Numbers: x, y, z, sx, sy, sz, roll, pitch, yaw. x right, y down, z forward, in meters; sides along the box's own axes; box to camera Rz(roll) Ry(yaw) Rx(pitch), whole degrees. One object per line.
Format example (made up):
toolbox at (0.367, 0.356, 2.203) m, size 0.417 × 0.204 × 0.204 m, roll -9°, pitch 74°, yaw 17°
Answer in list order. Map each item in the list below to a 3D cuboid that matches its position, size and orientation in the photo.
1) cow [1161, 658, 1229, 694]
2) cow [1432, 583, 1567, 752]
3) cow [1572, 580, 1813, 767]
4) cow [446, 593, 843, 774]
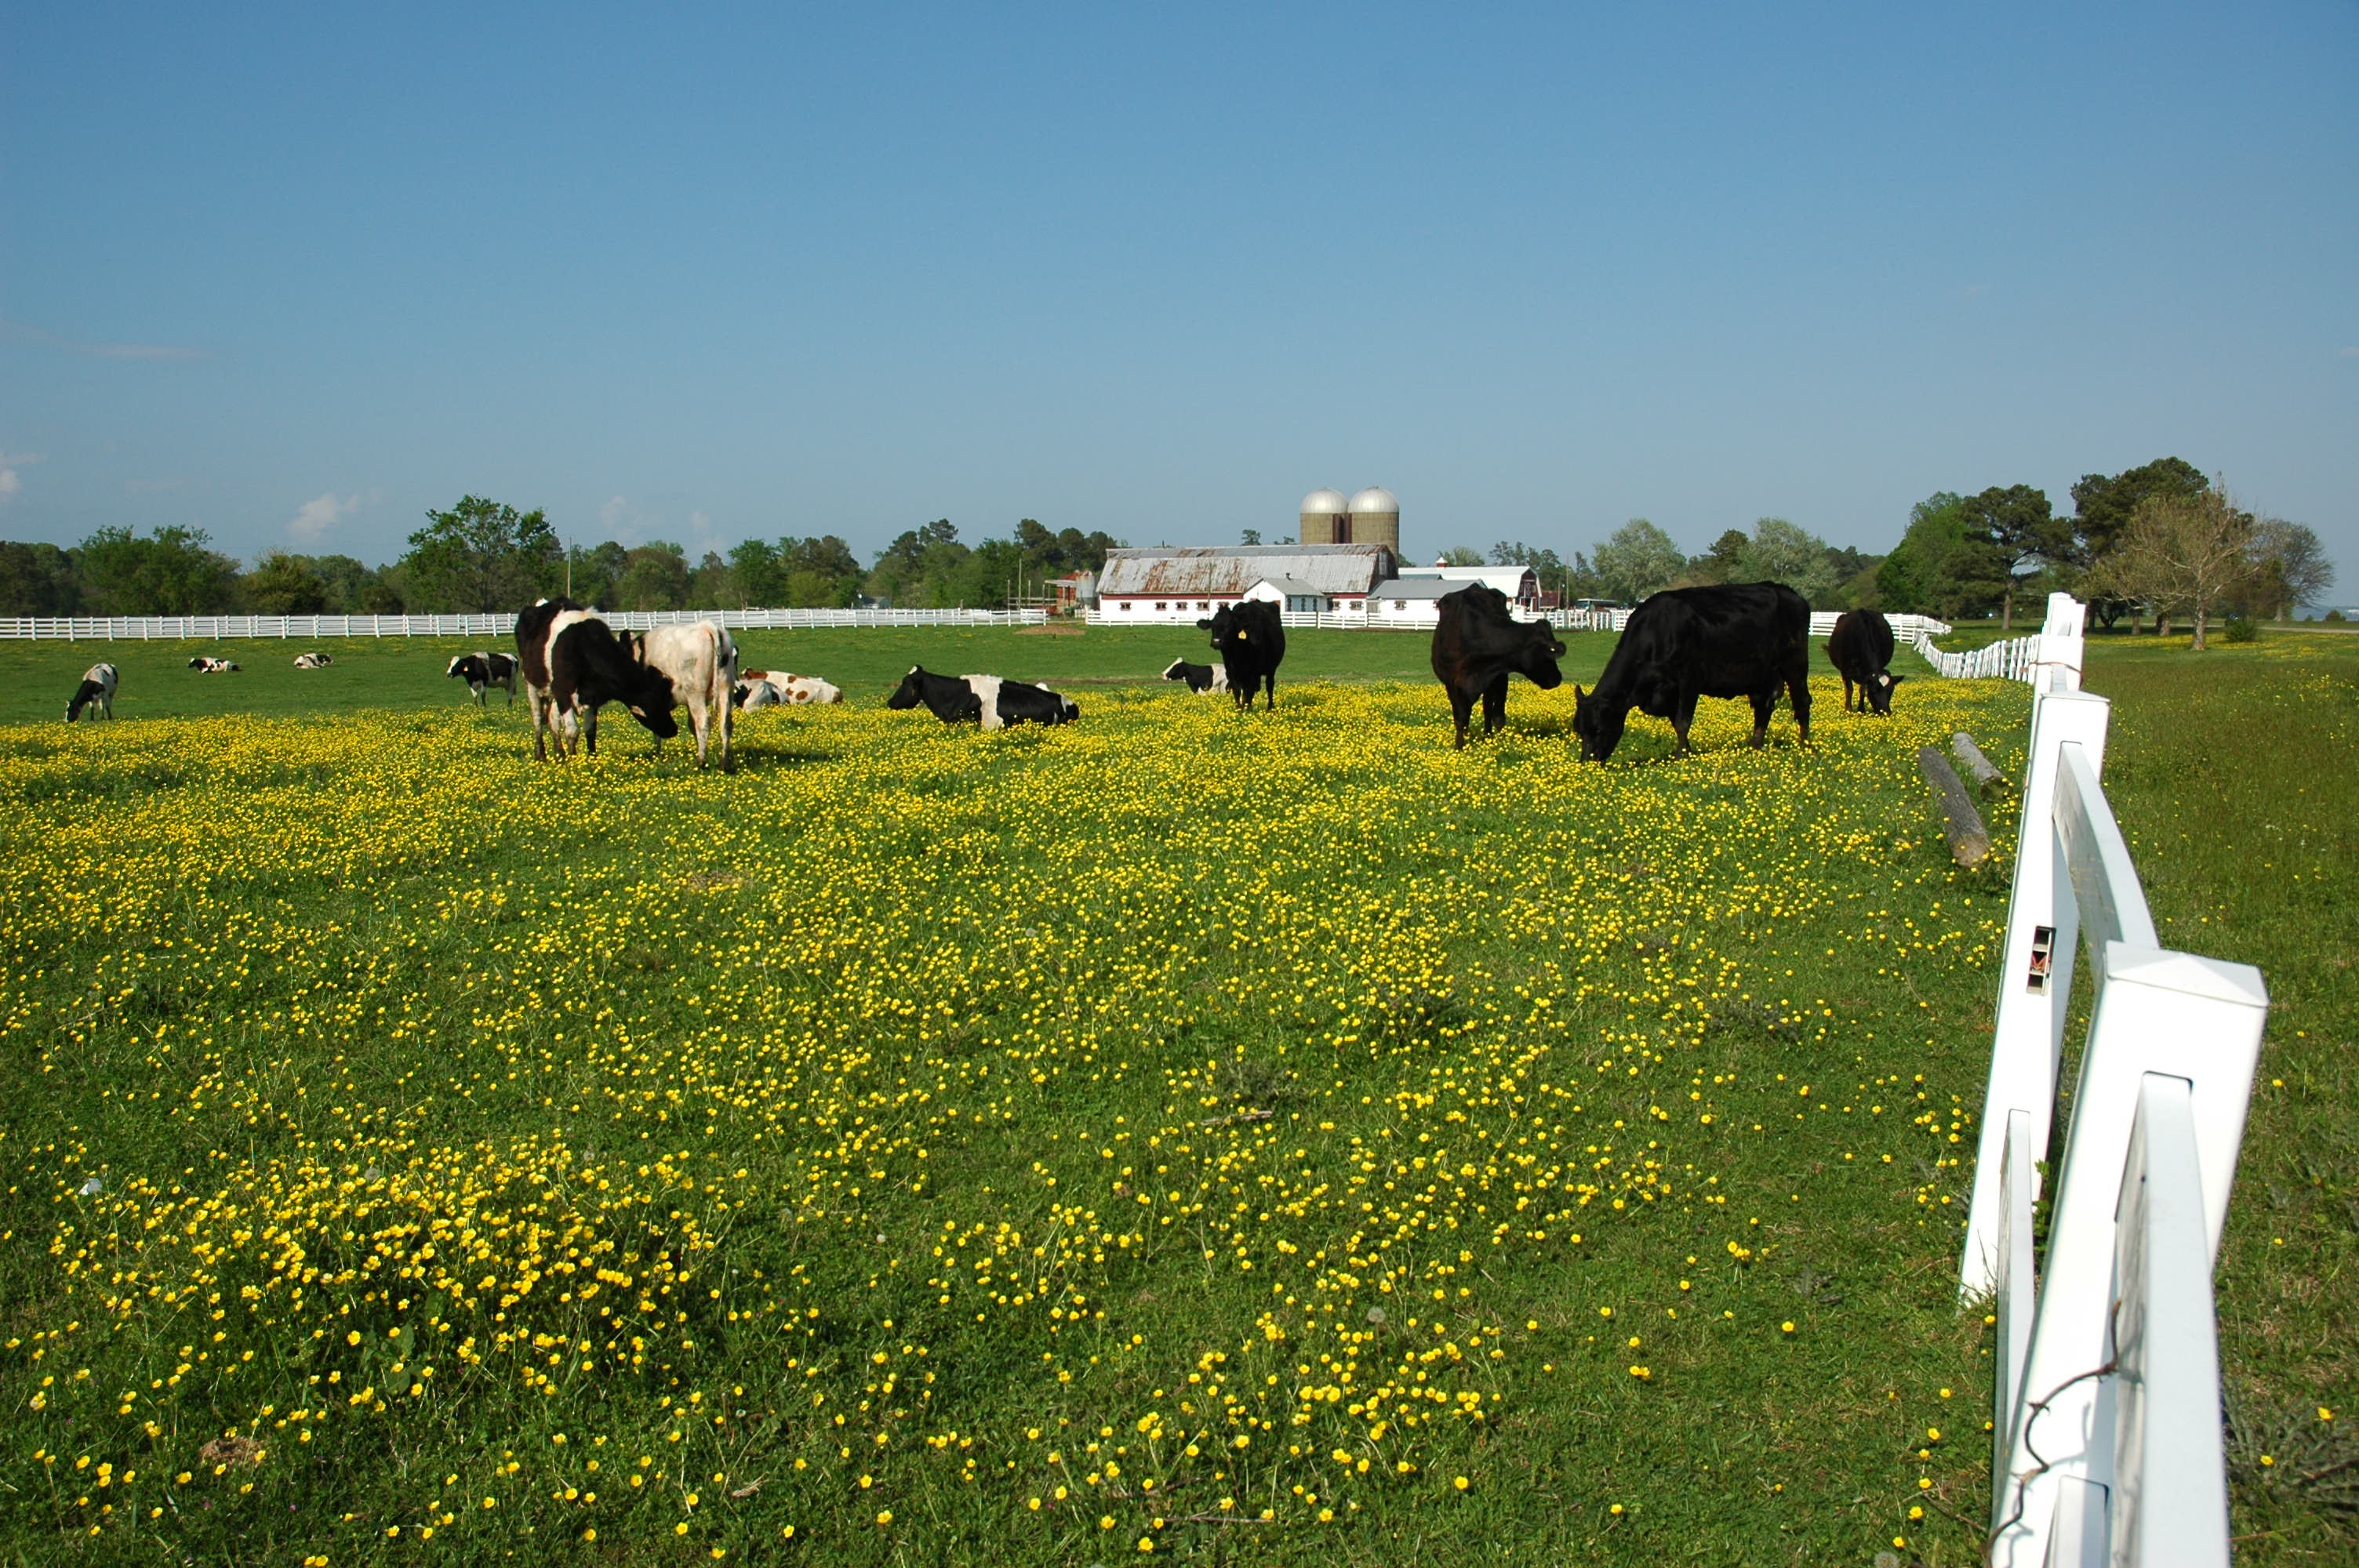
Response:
cow at (0.597, -3.018, 45.917) m, size 2.084 × 1.099 × 1.007 m, roll 4°, pitch 0°, yaw -24°
cow at (5.975, -2.454, 32.291) m, size 2.118 × 2.890 × 5.144 m, roll -1°, pitch 8°, yaw 8°
cow at (9.102, -2.046, 28.996) m, size 5.305 × 2.857 × 1.783 m, roll -9°, pitch 10°, yaw -40°
cow at (-10.122, -1.940, 30.122) m, size 4.036 × 2.984 × 1.907 m, roll -1°, pitch 8°, yaw 14°
